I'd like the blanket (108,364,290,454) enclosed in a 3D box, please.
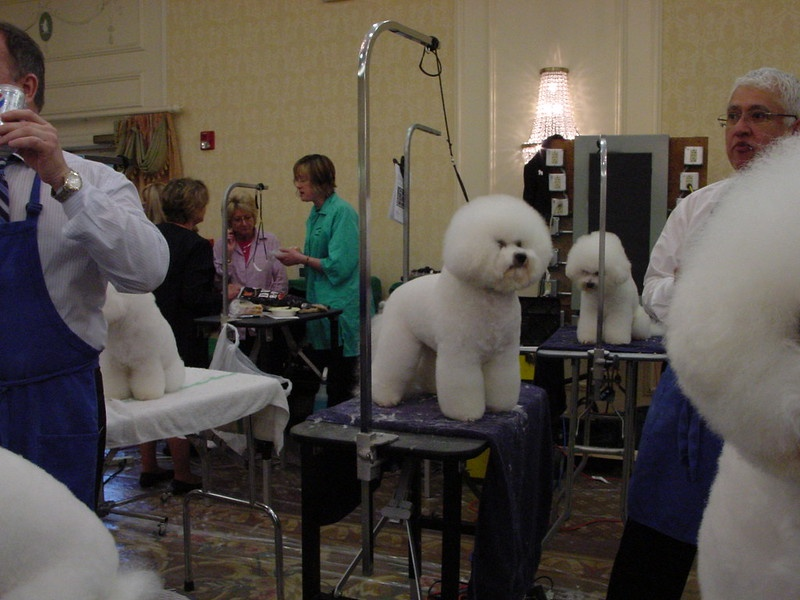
[{"bbox_3d":[-0.782,0.418,2.876,0.428,0.173,0.433,3,4,29],"label":"blanket"}]

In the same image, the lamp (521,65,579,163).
[{"bbox_3d":[1.125,-1.421,5.690,0.420,0.728,0.650,2,6,12],"label":"lamp"}]

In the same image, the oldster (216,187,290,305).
[{"bbox_3d":[-1.098,-0.224,5.549,0.511,0.538,0.315,-2,15,1],"label":"oldster"}]

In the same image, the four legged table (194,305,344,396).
[{"bbox_3d":[-0.858,0.247,4.758,0.595,0.564,0.605,2,3,29],"label":"four legged table"}]

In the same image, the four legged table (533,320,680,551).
[{"bbox_3d":[0.978,0.452,3.680,0.836,1.125,1.222,1,1,17],"label":"four legged table"}]

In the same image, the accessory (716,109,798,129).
[{"bbox_3d":[1.086,-0.539,2.254,0.139,0.037,0.135,1,1,-39],"label":"accessory"}]

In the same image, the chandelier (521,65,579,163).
[{"bbox_3d":[1.134,-1.421,5.690,0.419,0.728,0.656,2,6,10],"label":"chandelier"}]
